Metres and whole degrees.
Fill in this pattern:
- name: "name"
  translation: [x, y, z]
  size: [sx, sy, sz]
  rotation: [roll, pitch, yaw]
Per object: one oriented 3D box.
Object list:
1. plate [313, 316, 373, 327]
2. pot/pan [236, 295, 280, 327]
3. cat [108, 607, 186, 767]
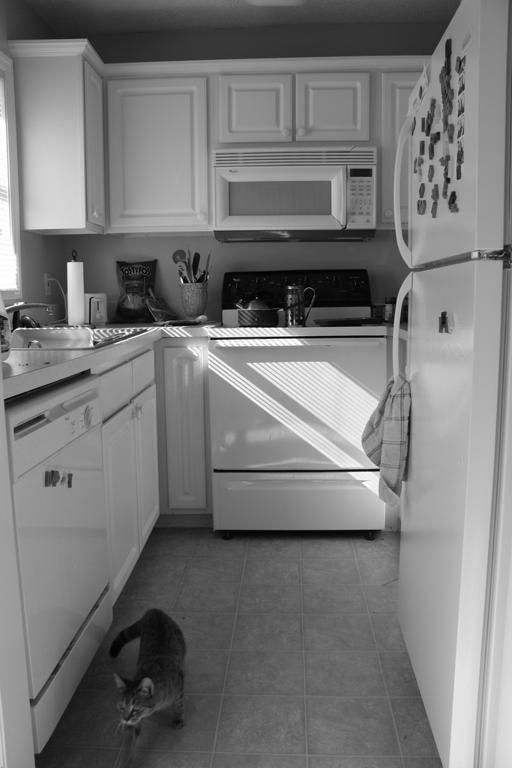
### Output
- name: "plate"
  translation: [0.373, -0.264, 2.495]
  size: [0.260, 0.034, 0.164]
  rotation: [1, 5, 12]
- name: "pot/pan"
  translation: [0.000, -0.322, 2.513]
  size: [0.179, 0.129, 0.118]
  rotation: [6, 12, 34]
- name: "cat"
  translation: [-0.271, 0.612, 1.291]
  size: [0.132, 0.201, 0.305]
  rotation: [-1, 37, 6]
